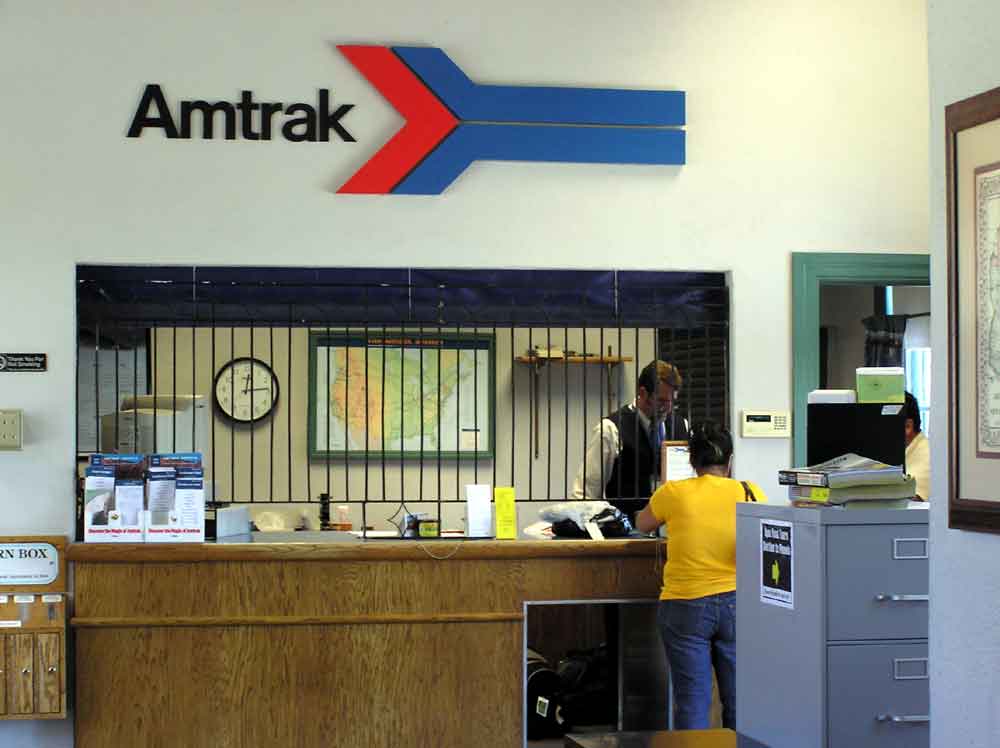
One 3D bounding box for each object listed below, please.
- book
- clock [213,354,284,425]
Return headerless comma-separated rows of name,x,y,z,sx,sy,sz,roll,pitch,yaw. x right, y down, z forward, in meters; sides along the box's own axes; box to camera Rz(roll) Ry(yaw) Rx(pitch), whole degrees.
book,1.347,0.412,5.384,0.268,0.150,0.292,-2,1,-15
clock,-1.696,0.109,9.236,0.411,0.513,0.044,0,-36,-14
